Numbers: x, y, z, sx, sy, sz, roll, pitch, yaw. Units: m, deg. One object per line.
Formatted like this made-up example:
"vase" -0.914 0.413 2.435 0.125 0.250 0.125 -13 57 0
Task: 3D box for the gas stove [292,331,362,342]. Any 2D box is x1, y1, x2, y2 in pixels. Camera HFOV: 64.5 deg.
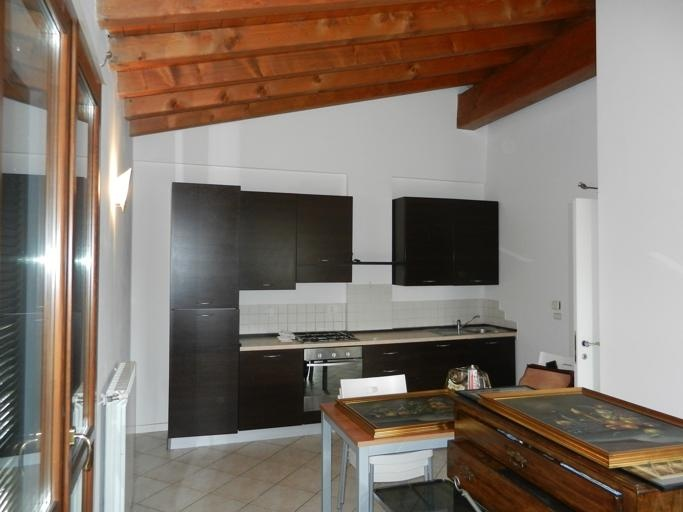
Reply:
"gas stove" -0.150 0.827 5.626 0.705 0.034 0.554 0 2 -15

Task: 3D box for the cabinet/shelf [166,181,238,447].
"cabinet/shelf" -1.276 0.486 5.037 0.634 2.320 0.176 0 3 -17

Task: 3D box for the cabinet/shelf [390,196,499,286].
"cabinet/shelf" 1.112 -0.166 6.035 1.035 0.828 0.358 1 -3 -19

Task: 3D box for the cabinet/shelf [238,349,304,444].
"cabinet/shelf" -0.721 1.332 5.515 0.849 0.953 0.691 0 -1 -18

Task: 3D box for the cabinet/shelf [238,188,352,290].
"cabinet/shelf" -0.487 -0.173 5.466 1.087 0.865 0.404 1 -1 -21
